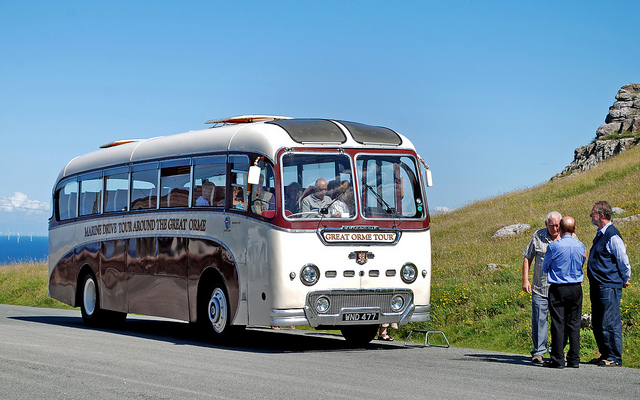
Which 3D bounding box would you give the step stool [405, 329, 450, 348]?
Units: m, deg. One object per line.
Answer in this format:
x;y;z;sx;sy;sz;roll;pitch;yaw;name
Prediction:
3.081;3.916;18.255;0.993;0.458;0.958;-1;2;-28;step stool

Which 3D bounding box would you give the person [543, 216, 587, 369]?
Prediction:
5.395;2.037;13.883;0.774;3.309;0.667;5;0;-37;person

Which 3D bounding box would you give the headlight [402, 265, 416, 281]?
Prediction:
2.191;1.781;15.358;0.344;0.378;0.071;5;0;-31;headlight
